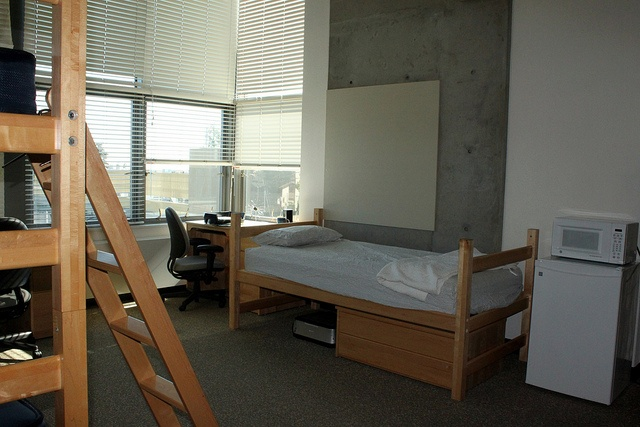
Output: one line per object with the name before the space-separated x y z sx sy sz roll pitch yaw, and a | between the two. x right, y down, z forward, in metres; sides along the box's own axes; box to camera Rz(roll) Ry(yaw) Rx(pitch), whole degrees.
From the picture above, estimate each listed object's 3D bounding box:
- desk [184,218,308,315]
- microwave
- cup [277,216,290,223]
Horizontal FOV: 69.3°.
desk | -1.006 0.537 5.927 1.077 1.339 1.939 -2 7 -38
microwave | 2.284 0.113 3.830 0.430 0.368 0.573 1 3 -42
cup | -0.476 0.079 6.053 0.088 0.044 0.099 -1 6 -35
